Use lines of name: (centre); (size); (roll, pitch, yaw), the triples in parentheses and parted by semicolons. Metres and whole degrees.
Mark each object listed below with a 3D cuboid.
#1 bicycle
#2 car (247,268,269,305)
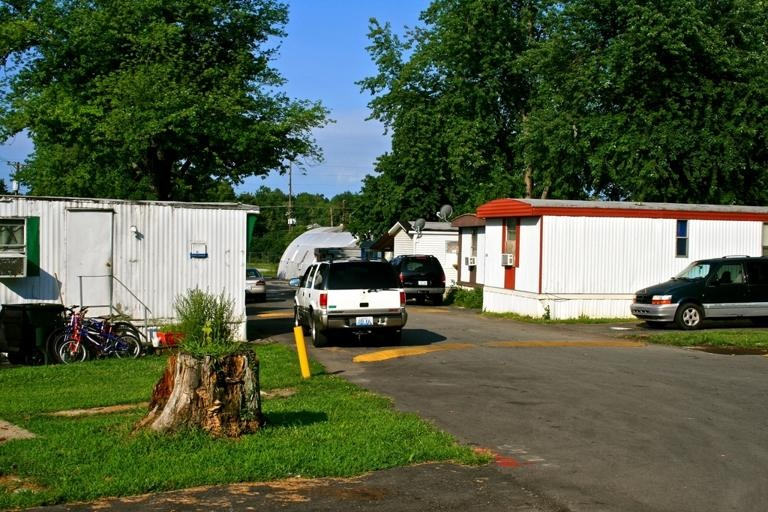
bicycle: (-7.293, 2.093, 20.121); (2.142, 1.156, 1.015); (3, -13, -37)
car: (-6.312, 1.411, 39.385); (0.873, 1.583, 2.006); (0, -1, -12)
